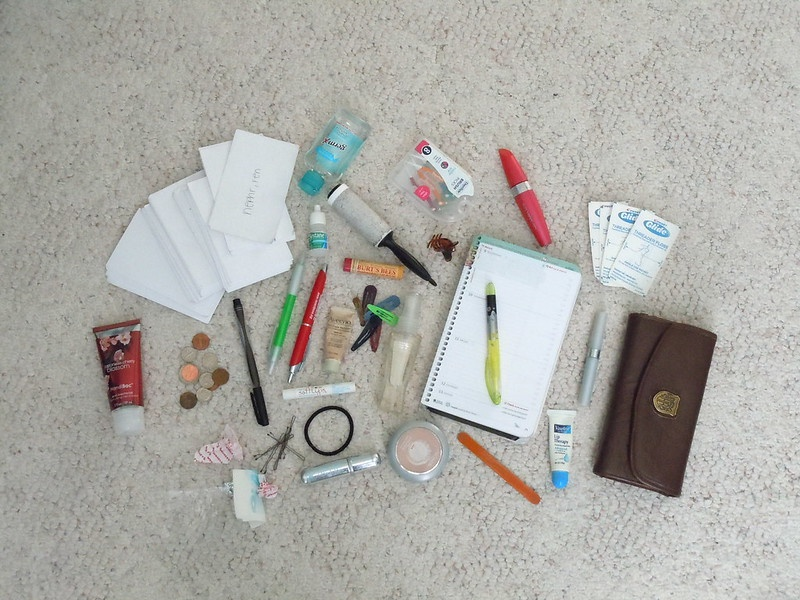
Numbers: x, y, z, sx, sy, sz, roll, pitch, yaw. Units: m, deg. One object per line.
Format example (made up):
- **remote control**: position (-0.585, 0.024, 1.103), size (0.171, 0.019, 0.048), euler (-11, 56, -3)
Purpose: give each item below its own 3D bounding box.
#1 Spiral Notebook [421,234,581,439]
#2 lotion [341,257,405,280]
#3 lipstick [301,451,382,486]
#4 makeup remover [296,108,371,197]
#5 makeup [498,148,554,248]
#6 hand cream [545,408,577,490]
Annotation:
- **Spiral Notebook**: position (0.181, 0.069, 1.386), size (0.207, 0.055, 0.331), euler (18, 86, 3)
- **lotion**: position (-0.047, -0.056, 1.379), size (0.141, 0.037, 0.035), euler (8, 83, -3)
- **lipstick**: position (-0.107, 0.294, 1.364), size (0.176, 0.047, 0.048), euler (-8, 113, -8)
- **makeup remover**: position (-0.118, -0.258, 1.388), size (0.086, 0.089, 0.156), euler (35, 87, 19)
- **makeup**: position (0.224, -0.187, 1.402), size (0.040, 0.040, 0.194), euler (-20, 85, 0)
- **hand cream**: position (0.292, 0.266, 1.401), size (0.067, 0.038, 0.141), euler (-8, 74, 35)
